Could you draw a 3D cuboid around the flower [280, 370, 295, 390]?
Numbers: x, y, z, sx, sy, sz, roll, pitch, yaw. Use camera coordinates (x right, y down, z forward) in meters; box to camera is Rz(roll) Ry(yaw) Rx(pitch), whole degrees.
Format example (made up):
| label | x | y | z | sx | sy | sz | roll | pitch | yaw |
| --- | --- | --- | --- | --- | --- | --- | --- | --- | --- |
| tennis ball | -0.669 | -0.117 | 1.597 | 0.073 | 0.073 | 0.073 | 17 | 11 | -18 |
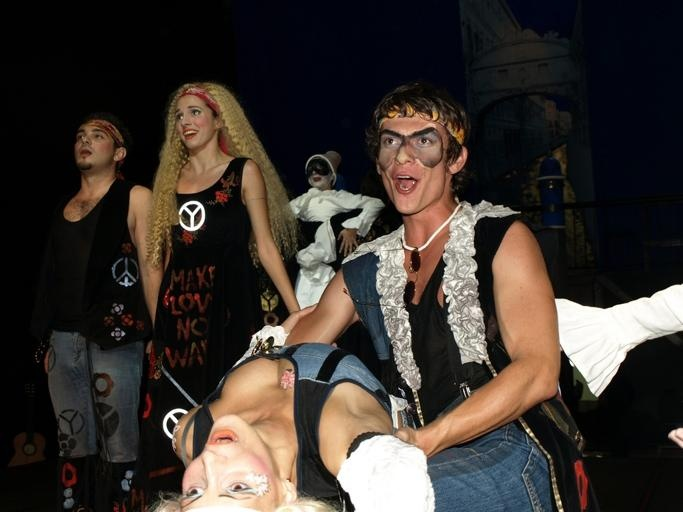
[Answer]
| label | x | y | z | sx | sy | sz | roll | pitch | yaw |
| --- | --- | --- | --- | --- | --- | --- | --- | --- | --- |
| flower | -0.168 | 0.381 | 2.013 | 0.048 | 0.055 | 0.022 | 8 | -2 | 34 |
